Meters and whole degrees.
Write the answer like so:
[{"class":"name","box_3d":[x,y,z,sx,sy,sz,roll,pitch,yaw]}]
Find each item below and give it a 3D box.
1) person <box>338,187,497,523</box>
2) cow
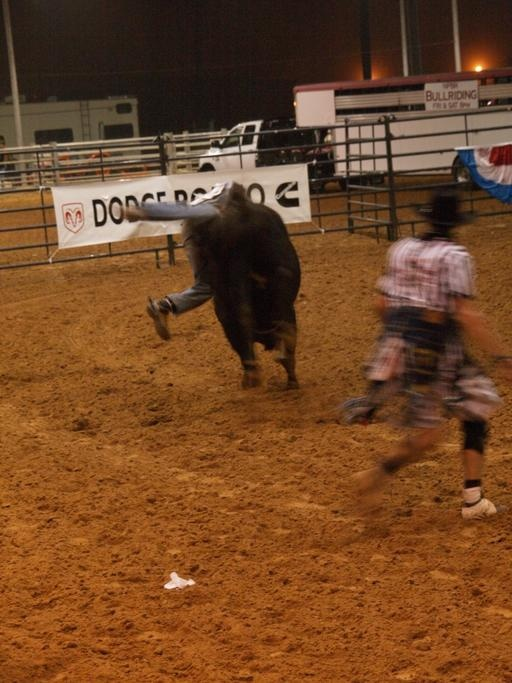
[{"class":"person","box_3d":[0.751,0.122,2.675,0.678,1.528,0.401,-4,13,6]},{"class":"cow","box_3d":[-0.063,-0.361,4.693,0.837,1.667,0.404,-7,13,-8]}]
